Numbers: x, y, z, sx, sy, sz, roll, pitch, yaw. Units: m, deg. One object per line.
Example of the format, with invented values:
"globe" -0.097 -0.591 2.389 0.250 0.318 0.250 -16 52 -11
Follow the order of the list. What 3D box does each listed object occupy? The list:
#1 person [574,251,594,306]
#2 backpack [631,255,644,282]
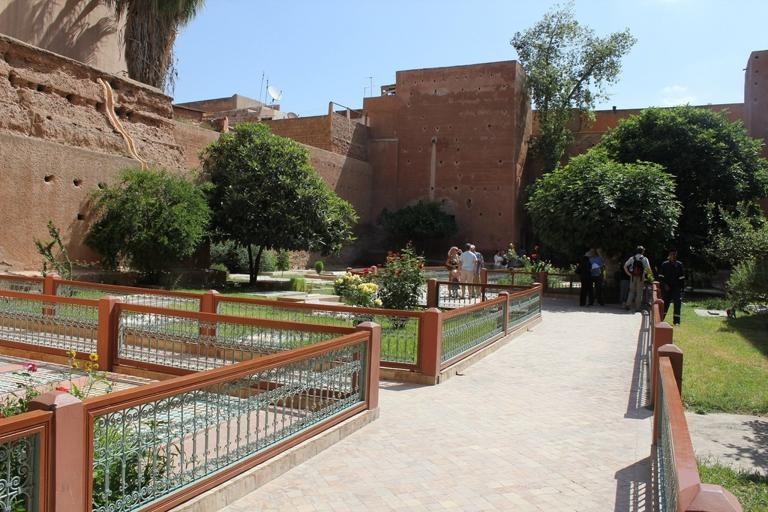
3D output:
"person" 6.955 0.788 21.591 0.521 1.925 1.103 7 11 13
"backpack" 7.621 0.363 18.901 0.342 0.698 0.578 9 11 21
